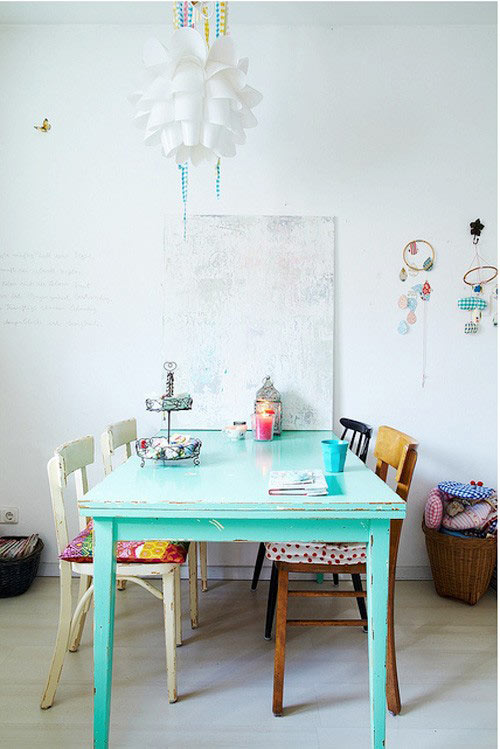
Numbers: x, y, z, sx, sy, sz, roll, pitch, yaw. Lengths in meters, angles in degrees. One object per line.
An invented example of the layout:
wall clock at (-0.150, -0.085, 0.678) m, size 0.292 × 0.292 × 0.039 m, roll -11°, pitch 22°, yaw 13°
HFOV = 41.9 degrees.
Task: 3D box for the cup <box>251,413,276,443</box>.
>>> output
cup at (0.049, 0.199, 2.497) m, size 0.096 × 0.109 × 0.097 m, roll 0°, pitch -5°, yaw 0°

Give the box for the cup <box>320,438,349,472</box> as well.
cup at (0.238, 0.238, 1.949) m, size 0.086 × 0.095 × 0.087 m, roll 0°, pitch -7°, yaw 0°

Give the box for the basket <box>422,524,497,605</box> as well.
basket at (0.838, 0.749, 2.595) m, size 0.261 × 0.304 × 0.273 m, roll 0°, pitch -8°, yaw 6°

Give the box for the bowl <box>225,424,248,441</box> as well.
bowl at (-0.055, 0.226, 2.566) m, size 0.060 × 0.047 × 0.066 m, roll 0°, pitch -6°, yaw 6°

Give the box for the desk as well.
desk at (-0.025, 0.617, 2.024) m, size 0.798 × 0.711 × 0.859 m, roll 1°, pitch 6°, yaw 0°

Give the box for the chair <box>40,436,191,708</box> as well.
chair at (-0.408, 0.574, 2.437) m, size 0.676 × 1.065 × 0.712 m, roll 0°, pitch 2°, yaw -3°

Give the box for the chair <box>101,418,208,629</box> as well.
chair at (-0.373, 0.548, 2.372) m, size 0.392 × 0.394 × 0.653 m, roll 0°, pitch 47°, yaw -17°
